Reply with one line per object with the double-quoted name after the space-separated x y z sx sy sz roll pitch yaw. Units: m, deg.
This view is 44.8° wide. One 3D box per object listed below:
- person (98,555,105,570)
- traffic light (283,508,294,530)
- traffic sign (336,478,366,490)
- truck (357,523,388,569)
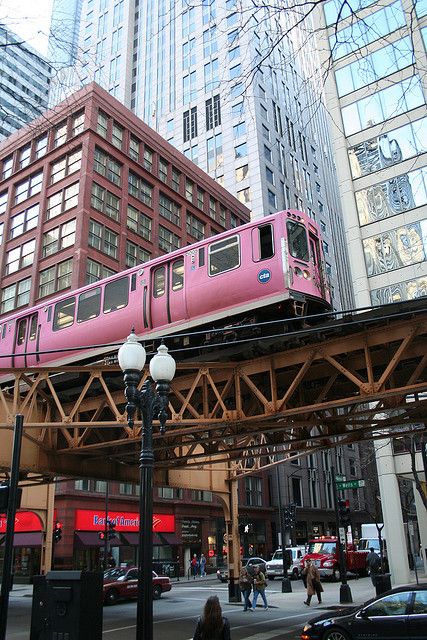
-8.153 17.392 37.385 0.352 0.912 1.312 2 -23 -18 "person"
3.990 10.305 27.192 0.574 1.051 1.323 -7 -21 6 "traffic light"
4.828 5.796 18.604 0.745 0.368 1.848 -7 -21 4 "traffic sign"
10.897 16.468 36.831 2.566 2.232 3.998 -2 -19 12 "truck"
